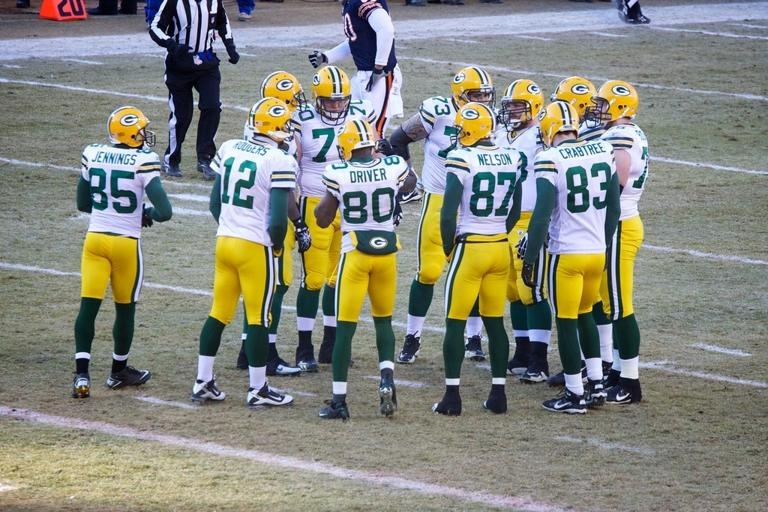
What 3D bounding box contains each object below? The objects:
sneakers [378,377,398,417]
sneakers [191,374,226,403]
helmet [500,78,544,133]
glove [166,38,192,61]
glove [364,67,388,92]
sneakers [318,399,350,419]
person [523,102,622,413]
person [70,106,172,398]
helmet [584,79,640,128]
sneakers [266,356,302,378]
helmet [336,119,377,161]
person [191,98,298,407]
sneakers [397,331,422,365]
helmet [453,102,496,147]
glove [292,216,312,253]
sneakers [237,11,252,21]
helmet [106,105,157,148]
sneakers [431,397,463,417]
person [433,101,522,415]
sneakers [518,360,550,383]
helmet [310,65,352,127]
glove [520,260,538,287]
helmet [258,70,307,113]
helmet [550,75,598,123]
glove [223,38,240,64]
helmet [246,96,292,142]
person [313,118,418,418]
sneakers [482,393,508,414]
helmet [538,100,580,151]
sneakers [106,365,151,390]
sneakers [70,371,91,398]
[{"bbox_3d":[0.028,1.398,13.602,0.179,0.374,0.209,-4,17,8],"label":"sneakers"},{"bbox_3d":[-1.709,1.370,13.744,0.471,0.240,0.162,2,7,-39],"label":"sneakers"},{"bbox_3d":[1.453,-1.625,14.296,0.556,0.437,0.397,-10,13,-10],"label":"helmet"},{"bbox_3d":[-2.772,-2.776,18.394,0.309,0.264,0.153,1,8,-6],"label":"glove"},{"bbox_3d":[-0.135,-2.285,17.696,0.221,0.280,0.158,18,34,16],"label":"glove"},{"bbox_3d":[-0.583,1.532,13.707,0.425,0.230,0.138,4,-6,5],"label":"sneakers"},{"bbox_3d":[1.841,0.043,13.722,0.924,3.061,0.492,3,8,5],"label":"person"},{"bbox_3d":[-2.704,-0.040,13.865,0.917,2.903,0.560,0,8,-12],"label":"person"},{"bbox_3d":[2.387,-1.576,14.184,0.583,0.393,0.404,0,11,0],"label":"helmet"},{"bbox_3d":[-1.099,1.171,14.441,0.462,0.160,0.149,1,-1,-7],"label":"sneakers"},{"bbox_3d":[-0.311,-1.182,13.714,0.393,0.344,0.461,-8,5,-34],"label":"helmet"},{"bbox_3d":[-1.397,-0.021,13.668,0.979,3.054,0.480,1,8,-7],"label":"person"},{"bbox_3d":[0.263,0.998,14.783,0.165,0.169,0.398,7,35,13],"label":"sneakers"},{"bbox_3d":[0.990,-1.338,13.794,0.444,0.446,0.519,-7,19,-23],"label":"helmet"},{"bbox_3d":[-0.853,-0.227,13.934,0.120,0.319,0.255,-21,-1,14],"label":"glove"},{"bbox_3d":[-3.140,-5.268,30.263,0.171,0.147,0.403,0,-1,2],"label":"sneakers"},{"bbox_3d":[-2.607,-1.316,13.940,0.539,0.362,0.365,-1,12,-5],"label":"helmet"},{"bbox_3d":[0.619,1.505,13.690,0.257,0.144,0.162,8,8,42],"label":"sneakers"},{"bbox_3d":[0.926,0.041,13.704,0.798,3.087,0.504,2,8,1],"label":"person"},{"bbox_3d":[1.577,1.237,14.425,0.382,0.140,0.149,2,-3,-32],"label":"sneakers"},{"bbox_3d":[-0.661,-1.779,14.415,0.476,0.483,0.572,-8,44,-15],"label":"helmet"},{"bbox_3d":[1.469,0.167,13.715,0.150,0.227,0.192,5,16,19],"label":"glove"},{"bbox_3d":[-1.075,-1.732,14.591,0.555,0.349,0.364,5,-5,-22],"label":"helmet"},{"bbox_3d":[2.004,-1.644,14.385,0.550,0.402,0.413,-1,5,16],"label":"helmet"},{"bbox_3d":[-2.147,-2.827,19.122,0.203,0.141,0.523,-16,-1,-6],"label":"glove"},{"bbox_3d":[-1.231,-1.395,13.779,0.413,0.382,0.537,12,11,35],"label":"helmet"},{"bbox_3d":[-0.264,0.134,13.575,0.865,2.947,0.473,2,8,0],"label":"person"},{"bbox_3d":[1.103,1.488,13.747,0.148,0.141,0.238,-2,13,-21],"label":"sneakers"},{"bbox_3d":[1.817,-1.318,13.845,0.399,0.365,0.429,-6,-6,0],"label":"helmet"},{"bbox_3d":[-2.637,1.243,14.001,0.527,0.205,0.171,-9,41,-18],"label":"sneakers"},{"bbox_3d":[-3.076,1.290,13.838,0.188,0.254,0.266,0,7,-13],"label":"sneakers"}]
